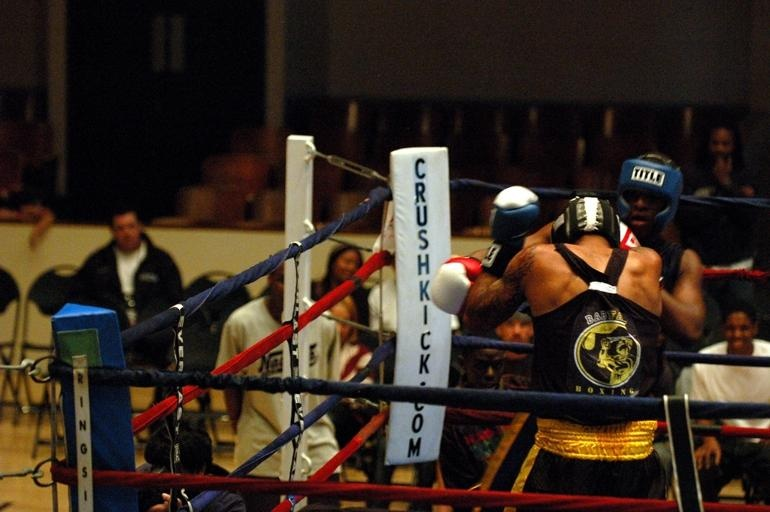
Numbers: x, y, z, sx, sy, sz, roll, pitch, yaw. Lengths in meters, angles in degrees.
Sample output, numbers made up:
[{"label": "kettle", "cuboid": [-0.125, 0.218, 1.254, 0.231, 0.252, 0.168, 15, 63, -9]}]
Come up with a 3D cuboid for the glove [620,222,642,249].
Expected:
[{"label": "glove", "cuboid": [1.856, -0.162, 10.060, 0.149, 0.137, 0.151, 43, -26, -21]}]

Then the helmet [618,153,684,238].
[{"label": "helmet", "cuboid": [2.184, -0.499, 10.431, 0.448, 0.575, 0.603, 8, -3, 23]}]
